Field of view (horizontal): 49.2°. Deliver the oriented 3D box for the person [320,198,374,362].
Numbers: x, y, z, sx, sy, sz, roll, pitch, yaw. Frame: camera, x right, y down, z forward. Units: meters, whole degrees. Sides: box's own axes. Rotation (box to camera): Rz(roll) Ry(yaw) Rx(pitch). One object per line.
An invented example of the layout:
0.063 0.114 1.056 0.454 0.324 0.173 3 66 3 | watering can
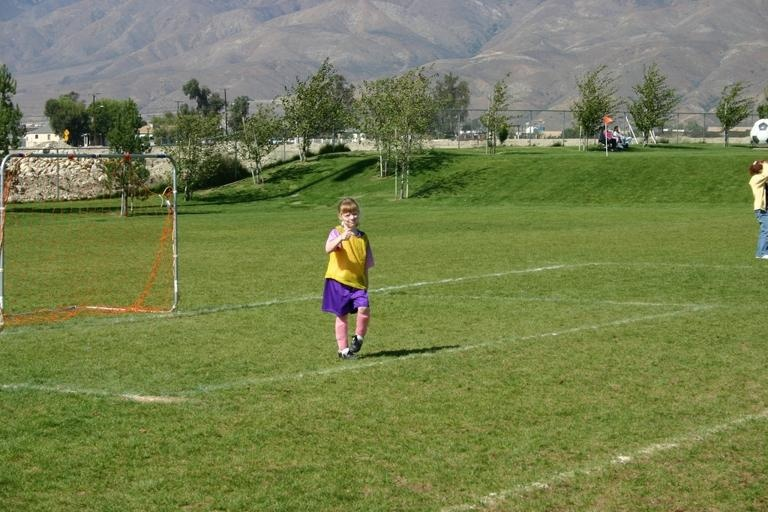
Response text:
-0.705 0.484 16.994 1.059 3.312 0.816 -4 6 -10 | person
